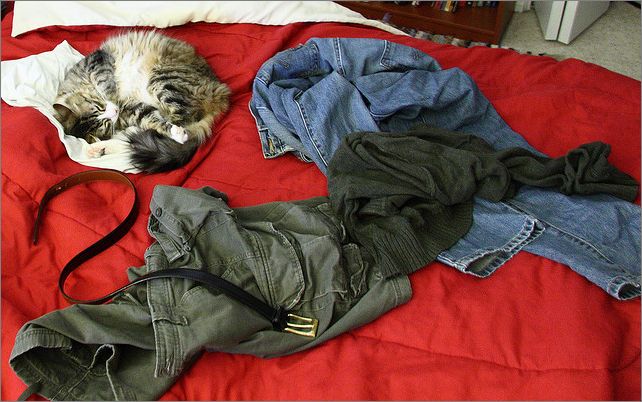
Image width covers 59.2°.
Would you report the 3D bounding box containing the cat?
[{"bbox_3d":[-0.767,-0.463,2.451,0.707,0.196,0.631,22,59,23],"label":"cat"}]
